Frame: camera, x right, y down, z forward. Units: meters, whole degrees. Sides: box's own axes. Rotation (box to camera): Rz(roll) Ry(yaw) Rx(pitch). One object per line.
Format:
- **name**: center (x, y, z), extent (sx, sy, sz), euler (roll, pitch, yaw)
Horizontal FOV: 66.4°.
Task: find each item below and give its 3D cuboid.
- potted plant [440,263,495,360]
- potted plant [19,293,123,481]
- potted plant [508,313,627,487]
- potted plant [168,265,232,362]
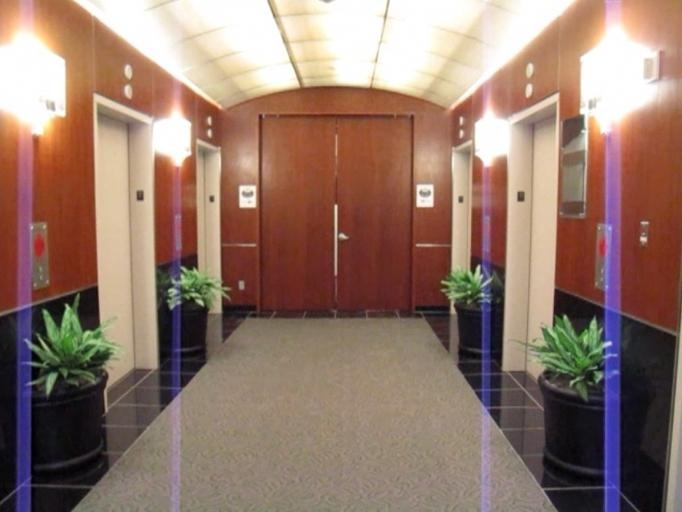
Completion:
- **potted plant**: center (1.513, 0.649, 6.064), extent (0.527, 0.960, 0.788), euler (1, 8, 8)
- **potted plant**: center (-1.966, 0.922, 3.800), extent (0.454, 1.154, 0.591), euler (3, 8, 26)
- **potted plant**: center (1.639, 1.029, 3.665), extent (0.615, 0.982, 0.906), euler (-1, 5, 3)
- **potted plant**: center (-1.841, 0.699, 6.174), extent (0.772, 0.961, 0.787), euler (2, -5, -4)
